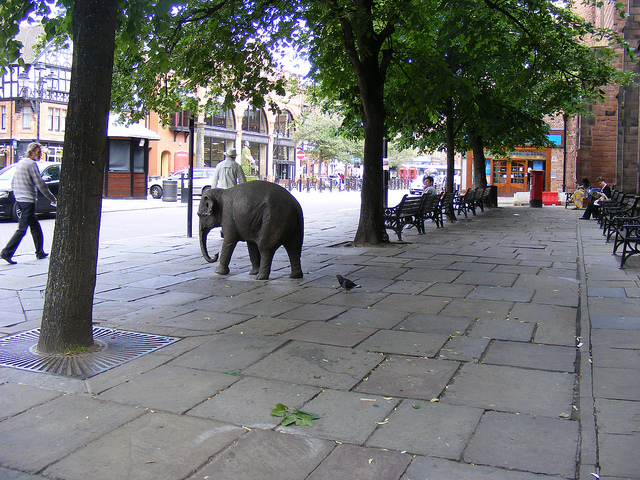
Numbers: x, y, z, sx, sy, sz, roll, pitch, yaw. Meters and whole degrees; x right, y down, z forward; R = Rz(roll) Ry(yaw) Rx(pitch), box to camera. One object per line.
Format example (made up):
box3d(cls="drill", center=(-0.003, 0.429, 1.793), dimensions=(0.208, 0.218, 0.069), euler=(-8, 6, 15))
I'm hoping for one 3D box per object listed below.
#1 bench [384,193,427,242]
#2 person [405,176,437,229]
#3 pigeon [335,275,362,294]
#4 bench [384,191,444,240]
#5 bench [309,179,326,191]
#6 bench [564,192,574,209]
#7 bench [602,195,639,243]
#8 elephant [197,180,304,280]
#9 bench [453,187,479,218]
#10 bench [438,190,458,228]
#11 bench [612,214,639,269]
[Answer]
box3d(cls="bench", center=(2.533, -0.705, 14.408), dimensions=(0.935, 1.283, 2.146), euler=(3, 7, 20))
box3d(cls="person", center=(3.937, -1.693, 18.045), dimensions=(1.200, 1.137, 2.064), euler=(2, 1, 22))
box3d(cls="pigeon", center=(0.447, 0.699, 7.457), dimensions=(0.337, 0.284, 0.429), euler=(1, 7, 3))
box3d(cls="bench", center=(2.992, -0.794, 15.188), dimensions=(0.803, 1.294, 4.018), euler=(4, 8, 28))
box3d(cls="bench", center=(-0.324, -6.316, 55.239), dimensions=(1.537, 1.096, 5.419), euler=(0, 7, -2))
box3d(cls="bench", center=(15.769, -2.535, 30.174), dimensions=(0.806, 0.838, 0.831), euler=(-1, 10, 33))
box3d(cls="bench", center=(8.439, -0.546, 13.302), dimensions=(0.651, 0.968, 1.596), euler=(2, 7, 23))
box3d(cls="elephant", center=(-1.350, -0.183, 8.854), dimensions=(2.199, 1.754, 1.066), euler=(1, 5, 21))
box3d(cls="bench", center=(7.246, -1.842, 23.160), dimensions=(0.925, 1.249, 2.457), euler=(-2, 3, 3))
box3d(cls="bench", center=(5.077, -1.176, 18.858), dimensions=(0.790, 0.970, 1.897), euler=(0, 5, 14))
box3d(cls="bench", center=(6.916, 0.083, 10.725), dimensions=(0.462, 0.745, 1.207), euler=(1, 6, 19))
